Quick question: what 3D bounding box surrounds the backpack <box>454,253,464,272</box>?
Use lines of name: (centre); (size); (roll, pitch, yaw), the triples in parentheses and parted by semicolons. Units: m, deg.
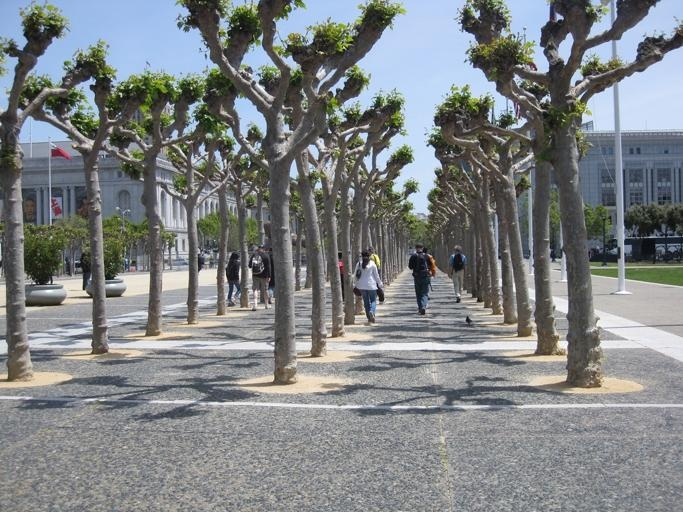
backpack: (4.466, 0.248, 25.822); (0.541, 0.643, 0.241); (-2, 0, -44)

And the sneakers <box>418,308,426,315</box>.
sneakers: (2.424, 1.682, 20.628); (0.169, 0.213, 0.531); (2, 2, 13)

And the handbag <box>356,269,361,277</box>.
handbag: (0.463, 0.490, 18.133); (0.163, 0.209, 0.135); (-2, 0, 15)

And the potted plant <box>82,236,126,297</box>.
potted plant: (-10.638, 0.421, 29.895); (2.066, 2.773, 1.911); (-2, -2, 25)

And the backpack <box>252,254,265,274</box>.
backpack: (-2.704, 0.277, 22.294); (0.549, 0.789, 0.399); (1, -5, 1)

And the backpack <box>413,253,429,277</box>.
backpack: (2.340, 0.300, 20.193); (0.534, 0.666, 0.361); (2, -29, 1)

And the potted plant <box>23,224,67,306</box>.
potted plant: (-11.722, 0.461, 25.961); (1.945, 3.124, 2.019); (-4, -5, -13)

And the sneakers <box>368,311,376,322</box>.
sneakers: (0.791, 1.657, 18.063); (0.124, 0.333, 0.137); (-16, 17, 7)

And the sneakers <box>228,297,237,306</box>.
sneakers: (-3.962, 1.671, 24.690); (0.156, 0.211, 0.474); (3, -1, -2)
